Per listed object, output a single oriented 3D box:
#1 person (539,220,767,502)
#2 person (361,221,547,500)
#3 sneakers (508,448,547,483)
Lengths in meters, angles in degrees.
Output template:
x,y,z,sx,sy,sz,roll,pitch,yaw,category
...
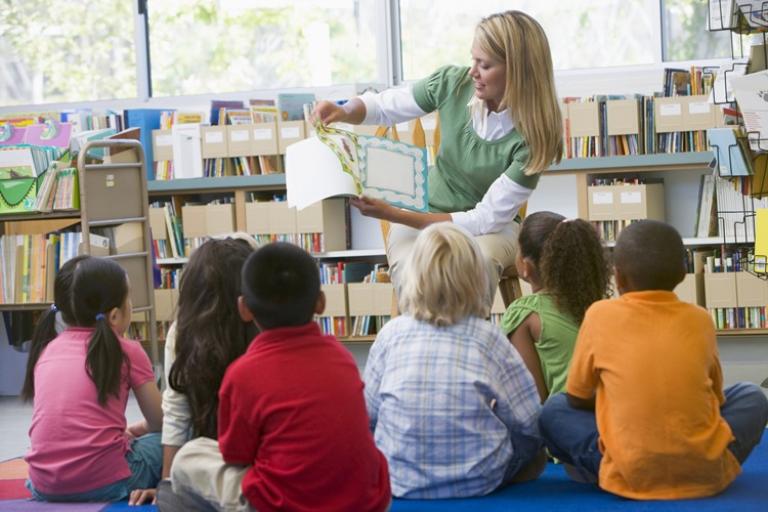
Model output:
x,y,z,sx,sy,sz,roll,pitch,yaw,category
0.753,0.254,3.323,0.988,1.007,0.742,1,7,12,person
0.223,0.333,3.305,0.676,0.851,0.636,0,4,21,person
0.476,0.677,3.218,0.110,0.078,0.110,1,-1,14,sneakers
